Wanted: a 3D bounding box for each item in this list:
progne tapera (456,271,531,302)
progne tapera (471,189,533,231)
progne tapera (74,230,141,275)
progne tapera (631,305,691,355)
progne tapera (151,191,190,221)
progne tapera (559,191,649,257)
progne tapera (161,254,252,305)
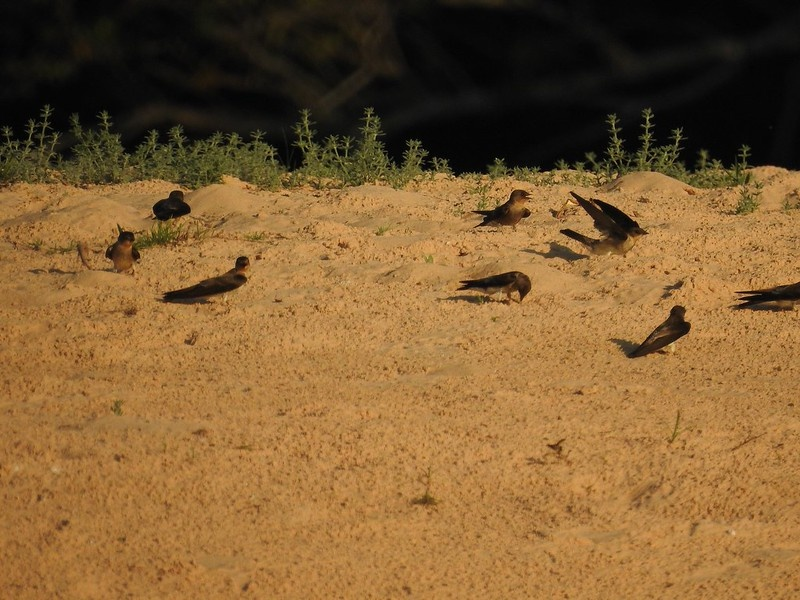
[{"bbox_3d":[0.889,-0.212,14.718,0.841,0.293,0.288,13,-9,1],"label":"progne tapera"},{"bbox_3d":[1.184,-1.093,16.396,0.607,0.423,0.705,1,19,4],"label":"progne tapera"},{"bbox_3d":[-2.911,-0.472,15.118,0.399,0.379,0.670,9,-9,-10],"label":"progne tapera"},{"bbox_3d":[2.609,0.332,14.097,0.768,0.403,0.429,-18,27,-42],"label":"progne tapera"},{"bbox_3d":[-2.587,-1.075,16.413,0.359,0.160,0.433,5,14,7],"label":"progne tapera"},{"bbox_3d":[2.165,-0.693,15.453,0.942,0.556,1.035,9,5,28],"label":"progne tapera"},{"bbox_3d":[-1.971,-0.192,14.573,1.024,0.463,0.312,0,9,-29],"label":"progne tapera"}]
